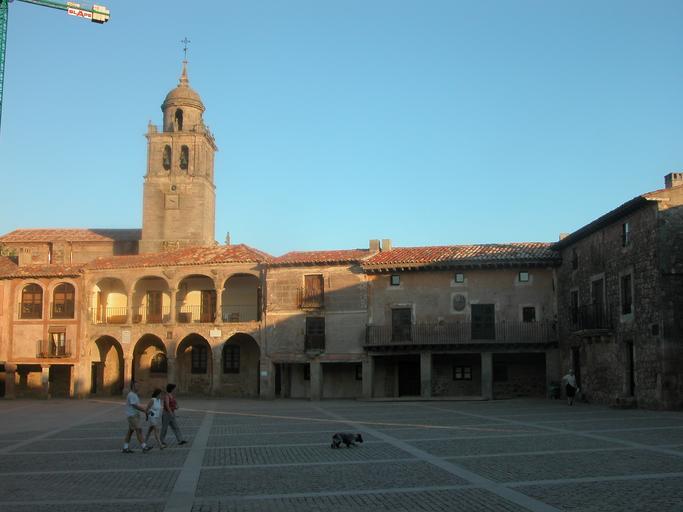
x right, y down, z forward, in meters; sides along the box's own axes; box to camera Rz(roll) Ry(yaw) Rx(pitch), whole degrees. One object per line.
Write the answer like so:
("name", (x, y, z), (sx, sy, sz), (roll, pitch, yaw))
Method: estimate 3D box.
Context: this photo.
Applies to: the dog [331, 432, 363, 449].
("dog", (0.173, 5.312, 24.576), (0.551, 0.439, 1.019), (-11, -15, 40))
